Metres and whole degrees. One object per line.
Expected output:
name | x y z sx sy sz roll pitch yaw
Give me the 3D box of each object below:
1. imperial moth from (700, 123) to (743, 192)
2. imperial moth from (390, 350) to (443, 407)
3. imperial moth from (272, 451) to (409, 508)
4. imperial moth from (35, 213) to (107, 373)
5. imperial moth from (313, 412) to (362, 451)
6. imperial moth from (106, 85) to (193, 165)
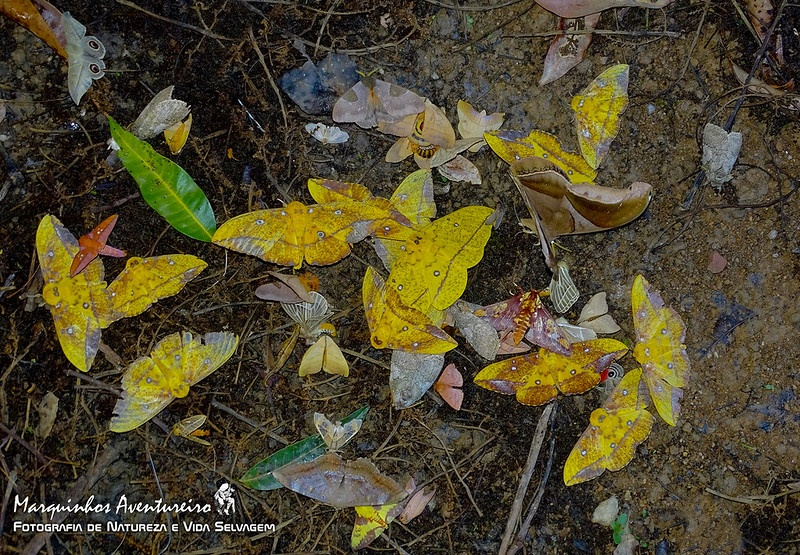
imperial moth | 1.407 -0.532 3.481 0.150 0.055 0.275 8 93 15
imperial moth | 0.074 0.455 3.467 0.232 0.086 0.243 4 81 -1
imperial moth | -0.269 0.877 3.427 0.565 0.033 0.215 11 81 -1
imperial moth | -1.405 0.040 3.425 0.276 0.746 0.165 -12 38 -21
imperial moth | -0.284 0.678 3.468 0.212 0.063 0.154 14 88 7
imperial moth | -1.110 -0.660 3.500 0.257 0.108 0.346 41 93 7
